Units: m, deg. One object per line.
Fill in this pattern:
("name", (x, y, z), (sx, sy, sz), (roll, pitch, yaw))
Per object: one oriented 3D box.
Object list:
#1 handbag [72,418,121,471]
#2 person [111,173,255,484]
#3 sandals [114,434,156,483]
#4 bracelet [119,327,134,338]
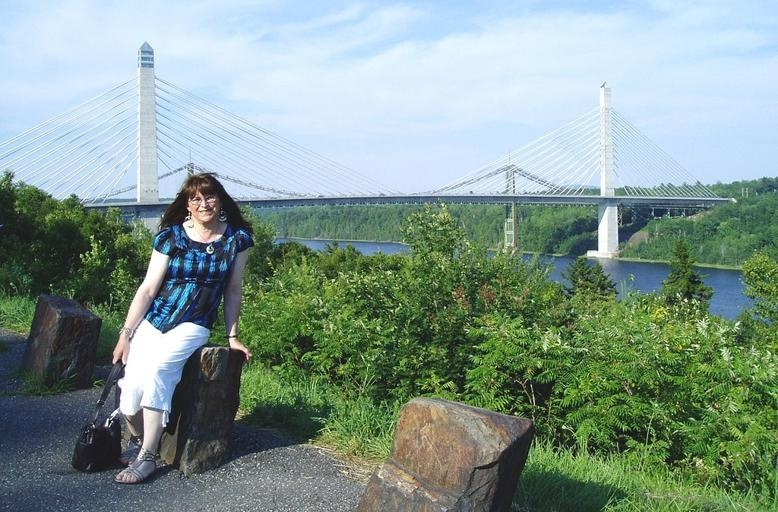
("handbag", (-2.793, 1.854, 7.038), (0.496, 0.552, 0.345), (7, -7, -23))
("person", (-2.057, 0.668, 7.117), (1.188, 3.005, 0.592), (3, 4, -27))
("sandals", (-2.368, 2.025, 6.897), (0.189, 0.261, 0.575), (2, -6, 10))
("bracelet", (-2.547, 0.748, 7.001), (0.121, 0.115, 0.048), (5, 4, -19))
